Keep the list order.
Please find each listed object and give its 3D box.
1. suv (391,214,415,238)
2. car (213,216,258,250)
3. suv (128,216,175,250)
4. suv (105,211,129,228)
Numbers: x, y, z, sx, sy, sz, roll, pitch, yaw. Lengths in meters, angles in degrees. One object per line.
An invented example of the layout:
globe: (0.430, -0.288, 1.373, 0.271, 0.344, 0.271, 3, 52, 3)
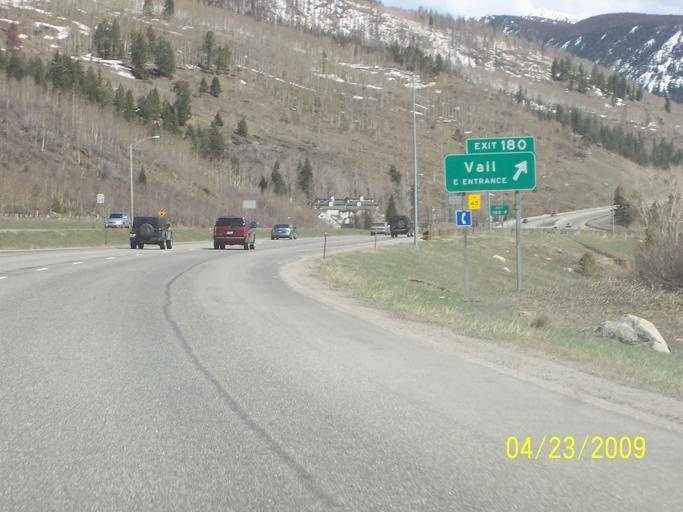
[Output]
suv: (5.634, -2.772, 82.507, 1.869, 1.884, 3.253, 3, 4, 19)
car: (-5.796, -1.302, 49.525, 1.345, 1.221, 2.612, 1, 7, 6)
suv: (-10.148, -1.283, 47.832, 1.286, 1.337, 2.287, 1, 7, 7)
suv: (-18.928, -3.031, 74.341, 1.237, 1.221, 2.270, -1, -4, 6)
